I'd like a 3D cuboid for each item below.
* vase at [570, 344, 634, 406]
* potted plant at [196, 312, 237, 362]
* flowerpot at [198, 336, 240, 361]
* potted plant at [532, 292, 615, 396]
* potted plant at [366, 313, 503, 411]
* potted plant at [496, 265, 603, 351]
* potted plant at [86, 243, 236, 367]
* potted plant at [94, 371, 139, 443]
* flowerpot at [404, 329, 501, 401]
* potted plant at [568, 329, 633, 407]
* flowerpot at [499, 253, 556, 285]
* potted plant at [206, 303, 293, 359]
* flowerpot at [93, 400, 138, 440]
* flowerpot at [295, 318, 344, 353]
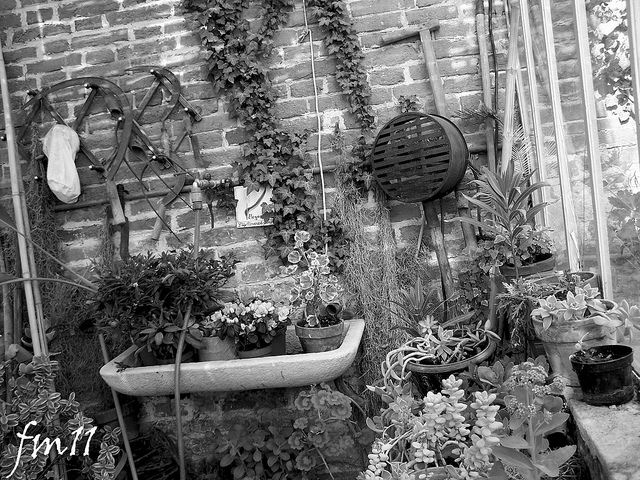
[{"bbox_3d":[0.925,0.449,2.353,0.201,0.146,0.207,-7,-10,-10],"label":"vase"},{"bbox_3d":[-0.452,0.448,3.042,0.167,0.150,0.153,-3,-2,44],"label":"potted plant"},{"bbox_3d":[-0.424,0.455,2.980,0.145,0.080,0.108,-2,-2,8],"label":"flowerpot"},{"bbox_3d":[0.827,0.386,2.501,0.246,0.244,0.236,-20,-9,1],"label":"potted plant"},{"bbox_3d":[0.423,0.482,2.631,0.402,0.236,0.319,-7,7,8],"label":"potted plant"},{"bbox_3d":[0.818,0.206,2.602,0.356,0.255,0.337,-19,-2,37],"label":"potted plant"},{"bbox_3d":[-0.696,0.252,3.049,0.588,0.380,0.505,0,4,3],"label":"potted plant"},{"bbox_3d":[-0.927,0.783,3.283,0.179,0.190,0.167,-38,-42,22],"label":"potted plant"},{"bbox_3d":[0.454,0.488,2.677,0.269,0.188,0.259,-19,20,-9],"label":"flowerpot"},{"bbox_3d":[0.936,0.419,2.319,0.186,0.234,0.159,-6,6,29],"label":"potted plant"},{"bbox_3d":[0.829,0.126,2.811,0.155,0.055,0.156,-3,-3,-29],"label":"flowerpot"},{"bbox_3d":[-0.290,0.357,2.948,0.277,0.172,0.263,-2,-6,-8],"label":"potted plant"},{"bbox_3d":[-0.929,0.809,3.208,0.166,0.145,0.172,-16,-7,-19],"label":"flowerpot"},{"bbox_3d":[0.000,0.394,2.919,0.152,0.100,0.144,-1,-8,-16],"label":"flowerpot"}]
